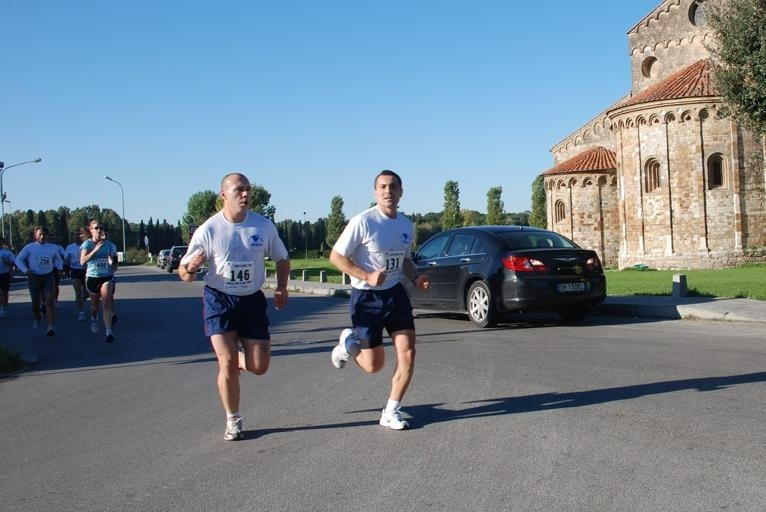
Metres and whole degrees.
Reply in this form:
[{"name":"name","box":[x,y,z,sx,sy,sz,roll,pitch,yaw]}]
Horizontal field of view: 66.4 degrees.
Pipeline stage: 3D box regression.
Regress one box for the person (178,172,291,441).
[{"name":"person","box":[-1.519,0.500,6.061,1.104,1.836,0.586,-2,1,-21]}]

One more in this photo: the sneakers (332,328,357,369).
[{"name":"sneakers","box":[-0.496,1.116,6.765,0.257,0.243,0.665,14,-34,-1]}]

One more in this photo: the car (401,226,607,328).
[{"name":"car","box":[2.572,0.390,12.778,3.821,2.172,1.661,-1,2,39]}]

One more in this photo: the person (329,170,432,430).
[{"name":"person","box":[-0.036,0.439,6.339,1.007,2.727,0.875,-2,1,-4]}]

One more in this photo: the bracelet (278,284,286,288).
[{"name":"bracelet","box":[-1.091,0.319,6.282,0.057,0.062,0.058,-5,-15,24]}]

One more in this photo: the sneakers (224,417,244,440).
[{"name":"sneakers","box":[-1.535,1.745,5.951,0.114,0.142,0.293,1,-3,-11]}]

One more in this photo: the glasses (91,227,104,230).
[{"name":"glasses","box":[-6.400,-0.660,13.174,0.224,0.101,0.233,-1,2,40]}]

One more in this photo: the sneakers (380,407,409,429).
[{"name":"sneakers","box":[0.108,1.703,6.223,0.320,0.206,0.238,-2,1,3]}]

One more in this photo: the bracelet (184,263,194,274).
[{"name":"bracelet","box":[-1.933,0.109,5.786,0.053,0.074,0.104,-3,2,-38]}]
